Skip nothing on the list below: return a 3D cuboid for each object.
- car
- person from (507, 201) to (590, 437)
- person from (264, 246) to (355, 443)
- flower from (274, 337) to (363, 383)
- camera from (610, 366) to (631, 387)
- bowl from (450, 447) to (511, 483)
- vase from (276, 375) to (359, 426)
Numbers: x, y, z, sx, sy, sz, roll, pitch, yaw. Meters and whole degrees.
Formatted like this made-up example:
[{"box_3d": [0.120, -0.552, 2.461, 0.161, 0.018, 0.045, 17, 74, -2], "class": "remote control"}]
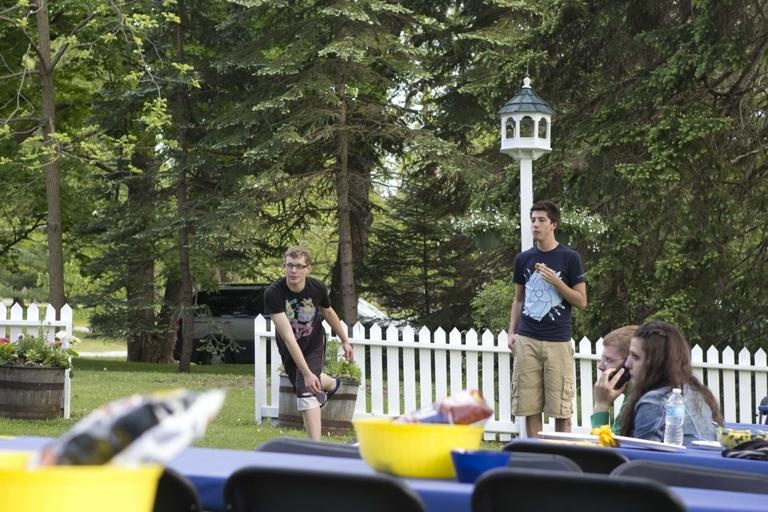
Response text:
[{"box_3d": [-2.798, 1.466, 39.941, 4.571, 1.802, 2.468, -1, -6, -2], "class": "car"}, {"box_3d": [2.736, 1.046, 27.391, 1.257, 3.915, 0.709, 1, -6, 5], "class": "person"}, {"box_3d": [-1.351, 1.482, 27.393, 0.691, 3.178, 1.493, -3, -7, 38], "class": "person"}, {"box_3d": [-1.218, 1.880, 29.493, 0.968, 1.292, 0.968, 2, -8, -26], "class": "flower"}, {"box_3d": [3.777, 1.923, 25.646, 0.237, 0.310, 0.286, 38, 56, 26], "class": "camera"}, {"box_3d": [1.351, 2.975, 23.279, 0.571, 0.247, 0.571, 2, -4, 0], "class": "bowl"}, {"box_3d": [-1.208, 2.683, 29.231, 1.074, 0.779, 1.124, 0, -5, 42], "class": "vase"}]
